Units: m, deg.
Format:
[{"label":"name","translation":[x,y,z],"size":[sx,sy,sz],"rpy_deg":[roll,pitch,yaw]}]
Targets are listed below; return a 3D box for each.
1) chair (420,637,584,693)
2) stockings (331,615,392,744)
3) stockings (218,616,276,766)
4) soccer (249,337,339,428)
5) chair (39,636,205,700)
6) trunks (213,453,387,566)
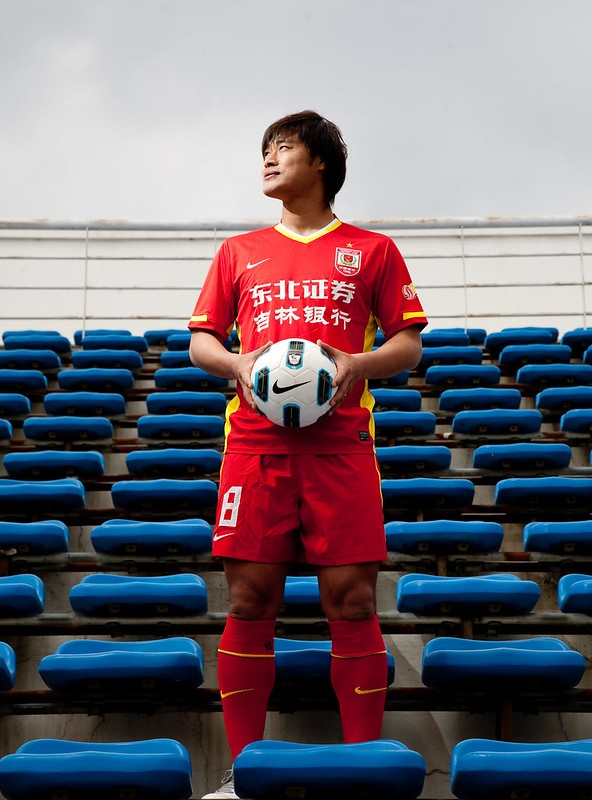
[{"label":"chair","translation":[0.493,0.649,2.279],"size":[0.381,0.130,0.207],"rpy_deg":[0,-7,-1]},{"label":"stockings","translation":[0.120,0.560,1.862],"size":[0.115,0.248,0.089],"rpy_deg":[-1,-8,10]},{"label":"stockings","translation":[-0.100,0.573,1.858],"size":[0.109,0.272,0.058],"rpy_deg":[1,-8,-5]},{"label":"soccer","translation":[0.010,-0.038,1.944],"size":[0.213,0.188,0.177],"rpy_deg":[3,-11,-1]},{"label":"chair","translation":[-0.418,0.650,2.269],"size":[0.376,0.126,0.233],"rpy_deg":[0,-7,-4]},{"label":"trunks","translation":[0.012,0.227,1.943],"size":[0.469,0.264,0.228],"rpy_deg":[0,-17,0]}]
